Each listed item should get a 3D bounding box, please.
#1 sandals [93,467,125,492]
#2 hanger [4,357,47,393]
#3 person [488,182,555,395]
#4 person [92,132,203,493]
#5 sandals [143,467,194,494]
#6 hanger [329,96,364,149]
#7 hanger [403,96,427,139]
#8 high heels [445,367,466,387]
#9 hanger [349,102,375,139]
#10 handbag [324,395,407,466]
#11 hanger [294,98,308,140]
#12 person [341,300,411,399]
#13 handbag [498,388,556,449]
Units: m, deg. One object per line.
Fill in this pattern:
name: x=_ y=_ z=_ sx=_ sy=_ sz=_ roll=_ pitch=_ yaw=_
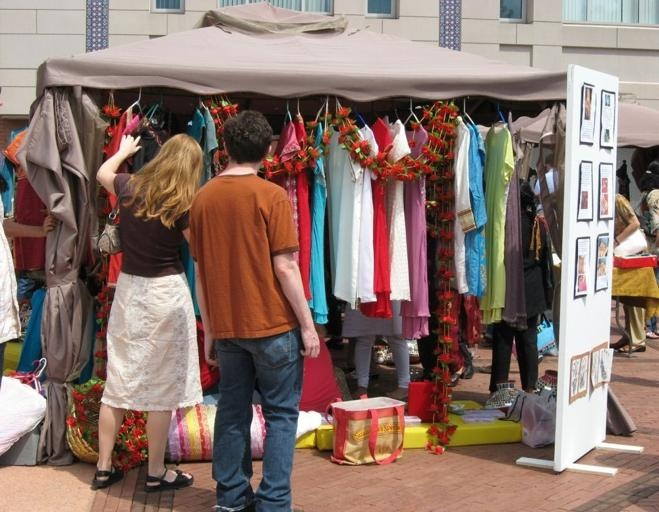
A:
sandals: x=-1.637 y=1.627 z=6.036 sx=0.090 sy=0.116 sz=0.271 roll=1 pitch=5 yaw=13
hanger: x=-2.408 y=0.972 z=6.487 sx=0.270 sy=0.293 sz=0.102 roll=26 pitch=-9 yaw=9
person: x=1.773 y=0.327 z=7.566 sx=0.543 sy=2.028 sz=1.019 roll=3 pitch=7 yaw=18
person: x=-1.318 y=0.403 z=5.912 sx=0.767 sy=2.561 sz=0.372 roll=2 pitch=7 yaw=11
sandals: x=-1.172 y=1.636 z=5.939 sx=0.340 sy=0.177 sz=0.141 roll=-1 pitch=0 yaw=-24
hanger: x=0.135 y=-1.078 z=6.862 sx=0.262 sy=0.452 sz=0.460 roll=-2 pitch=8 yaw=-21
hanger: x=0.777 y=-1.265 z=7.400 sx=0.051 sy=0.432 sz=0.406 roll=-19 pitch=-34 yaw=20
high heels: x=1.277 y=1.206 z=8.386 sx=0.185 sy=0.167 sz=0.561 roll=-3 pitch=-6 yaw=13
hanger: x=0.291 y=-1.275 z=7.596 sx=0.180 sy=0.156 sz=0.558 roll=-1 pitch=34 yaw=-21
handbag: x=0.289 y=1.309 z=6.505 sx=0.529 sy=0.434 sz=0.436 roll=3 pitch=-8 yaw=-28
hanger: x=-0.265 y=-1.262 z=7.456 sx=0.081 sy=0.188 sz=0.604 roll=-9 pitch=33 yaw=-4
person: x=0.425 y=0.623 z=7.506 sx=0.608 sy=1.473 sz=0.240 roll=0 pitch=25 yaw=10
handbag: x=1.704 y=1.358 z=6.940 sx=0.403 sy=0.419 sz=0.337 roll=2 pitch=7 yaw=15
